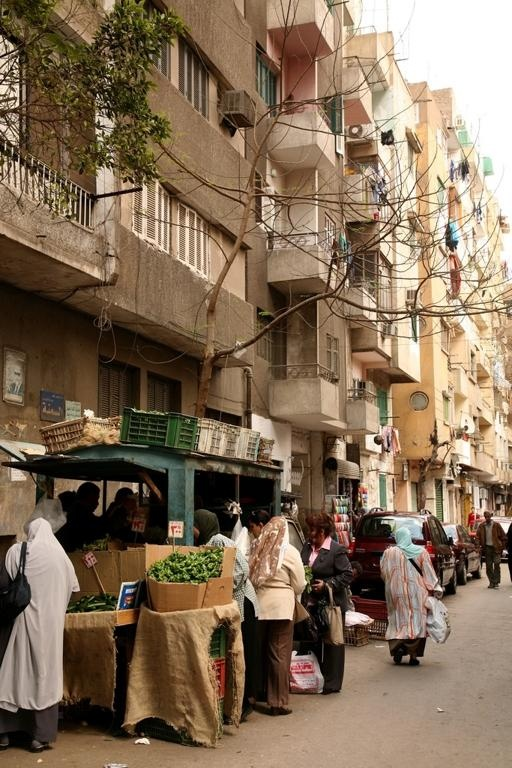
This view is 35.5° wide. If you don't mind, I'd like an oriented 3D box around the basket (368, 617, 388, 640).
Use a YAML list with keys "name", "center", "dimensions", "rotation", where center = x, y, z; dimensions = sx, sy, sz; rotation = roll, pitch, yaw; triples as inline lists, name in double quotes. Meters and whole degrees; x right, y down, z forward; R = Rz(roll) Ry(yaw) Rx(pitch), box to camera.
- name: "basket"
  center: [1.746, 3.529, 11.637]
  dimensions: [0.336, 0.247, 0.545]
  rotation: [-1, 1, 5]

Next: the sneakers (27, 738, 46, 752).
- name: "sneakers"
  center: [-1.332, 2.209, 4.922]
  dimensions: [0.111, 0.073, 0.175]
  rotation: [3, -8, -10]

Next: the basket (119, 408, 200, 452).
- name: "basket"
  center: [-0.782, 0.352, 6.459]
  dimensions: [0.391, 0.220, 0.421]
  rotation: [8, -7, 13]

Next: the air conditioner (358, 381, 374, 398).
- name: "air conditioner"
  center: [3.680, 0.164, 26.964]
  dimensions: [0.529, 0.697, 1.802]
  rotation: [0, -8, 11]

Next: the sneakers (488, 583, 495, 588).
- name: "sneakers"
  center: [5.907, 5.091, 20.210]
  dimensions: [0.068, 0.130, 0.171]
  rotation: [2, -17, -7]

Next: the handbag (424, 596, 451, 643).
- name: "handbag"
  center: [2.078, 2.716, 9.237]
  dimensions: [0.247, 0.553, 0.363]
  rotation: [0, -7, 12]

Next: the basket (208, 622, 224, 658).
- name: "basket"
  center: [-0.270, 1.823, 5.652]
  dimensions: [0.058, 0.217, 0.290]
  rotation: [0, -7, 10]

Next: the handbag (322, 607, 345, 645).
- name: "handbag"
  center: [0.696, 2.222, 7.375]
  dimensions: [0.119, 0.373, 0.297]
  rotation: [-14, -16, 25]

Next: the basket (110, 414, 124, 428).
- name: "basket"
  center: [-1.376, 0.354, 7.916]
  dimensions: [0.172, 0.089, 0.244]
  rotation: [2, -13, -24]

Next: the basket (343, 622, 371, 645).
- name: "basket"
  center: [1.349, 3.311, 10.694]
  dimensions: [0.262, 0.279, 0.391]
  rotation: [-9, -17, 33]

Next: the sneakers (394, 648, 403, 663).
- name: "sneakers"
  center: [1.631, 3.121, 9.256]
  dimensions: [0.071, 0.188, 0.167]
  rotation: [5, -1, -3]

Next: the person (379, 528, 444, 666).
- name: "person"
  center: [1.793, 2.464, 9.325]
  dimensions: [0.633, 1.537, 0.503]
  rotation: [1, -7, 4]

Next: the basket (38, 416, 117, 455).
- name: "basket"
  center: [-1.372, 0.390, 6.697]
  dimensions: [0.368, 0.209, 0.498]
  rotation: [-14, -7, 23]
